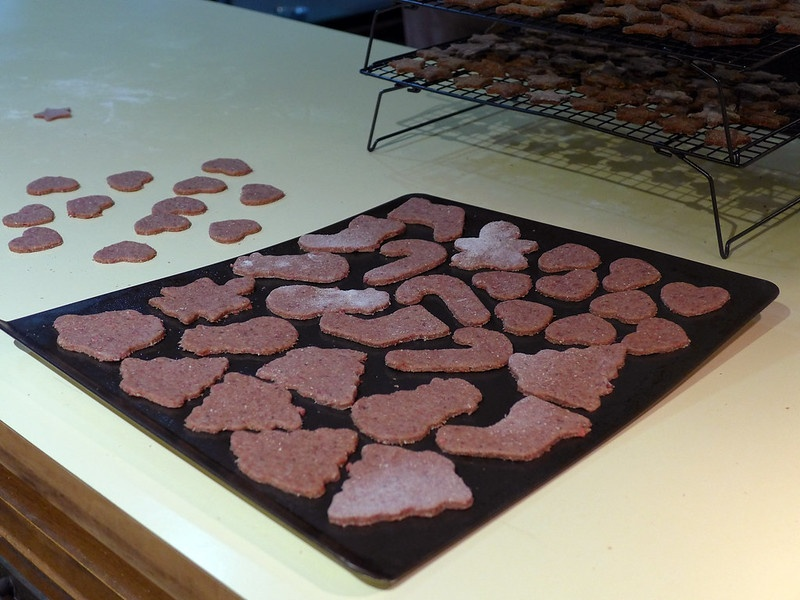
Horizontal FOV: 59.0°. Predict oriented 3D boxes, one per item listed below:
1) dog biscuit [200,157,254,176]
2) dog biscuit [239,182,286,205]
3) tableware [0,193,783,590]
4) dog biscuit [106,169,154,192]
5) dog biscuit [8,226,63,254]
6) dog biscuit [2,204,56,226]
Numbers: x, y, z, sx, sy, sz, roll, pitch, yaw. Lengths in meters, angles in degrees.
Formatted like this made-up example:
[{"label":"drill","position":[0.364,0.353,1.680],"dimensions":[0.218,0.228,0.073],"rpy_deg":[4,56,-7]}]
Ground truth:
[{"label":"dog biscuit","position":[-0.386,-0.294,1.570],"dimensions":[0.101,0.020,0.081],"rpy_deg":[-12,38,-10]},{"label":"dog biscuit","position":[-0.286,-0.219,1.464],"dimensions":[0.084,0.011,0.060],"rpy_deg":[3,24,1]},{"label":"tableware","position":[0.026,0.026,1.085],"dimensions":[0.837,0.082,0.747],"rpy_deg":[-30,44,-31]},{"label":"dog biscuit","position":[-0.567,-0.259,1.508],"dimensions":[0.074,0.008,0.075],"rpy_deg":[27,34,35]},{"label":"dog biscuit","position":[-0.673,-0.109,1.310],"dimensions":[0.084,0.008,0.062],"rpy_deg":[3,28,2]},{"label":"dog biscuit","position":[-0.721,-0.164,1.380],"dimensions":[0.078,0.005,0.054],"rpy_deg":[2,28,1]}]
